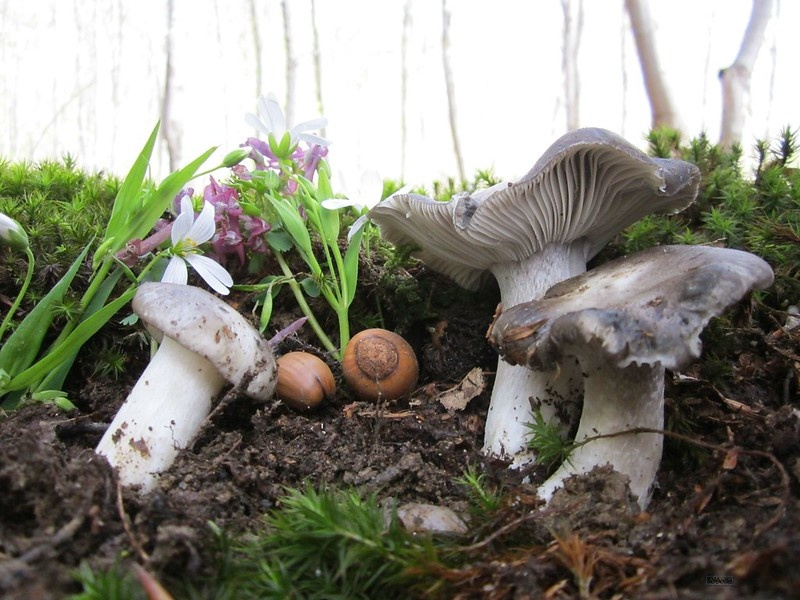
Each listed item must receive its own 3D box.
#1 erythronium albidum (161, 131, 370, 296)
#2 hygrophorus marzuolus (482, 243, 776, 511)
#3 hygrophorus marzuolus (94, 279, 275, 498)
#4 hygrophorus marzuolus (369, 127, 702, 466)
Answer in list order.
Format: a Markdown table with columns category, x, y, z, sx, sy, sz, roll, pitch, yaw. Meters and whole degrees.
| category | x | y | z | sx | sy | sz | roll | pitch | yaw |
| --- | --- | --- | --- | --- | --- | --- | --- | --- | --- |
| erythronium albidum | -0.577 | -0.421 | 3.487 | 0.789 | 0.779 | 0.429 | 7 | 4 | -8 |
| hygrophorus marzuolus | 0.963 | 0.216 | 3.060 | 1.041 | 1.023 | 1.031 | -6 | 3 | 35 |
| hygrophorus marzuolus | -0.917 | 0.396 | 3.058 | 0.673 | 0.862 | 0.702 | 27 | 3 | -15 |
| hygrophorus marzuolus | 0.661 | -0.178 | 3.498 | 1.370 | 1.564 | 1.471 | 6 | -1 | 41 |
